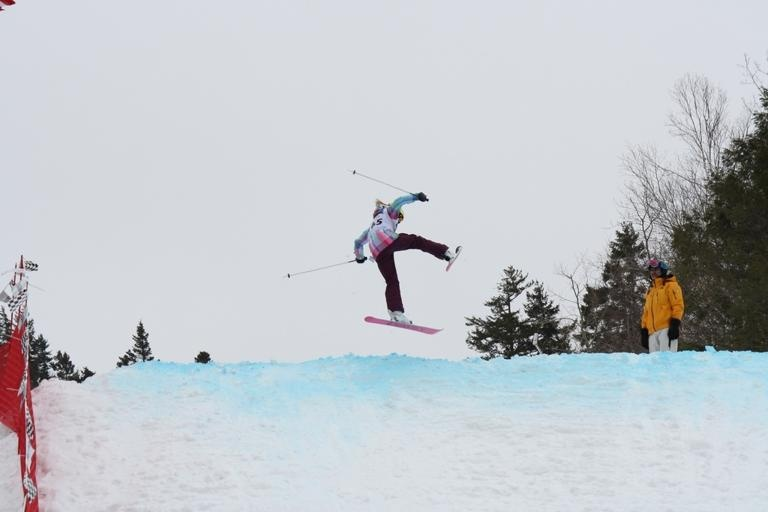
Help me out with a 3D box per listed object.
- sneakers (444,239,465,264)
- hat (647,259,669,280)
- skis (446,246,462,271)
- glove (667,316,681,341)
[{"bbox_3d":[1.372,-0.038,19.397,0.291,0.417,0.151,28,-9,-13],"label":"sneakers"},{"bbox_3d":[6.999,0.299,23.938,0.445,0.565,0.763,-6,-12,16],"label":"hat"},{"bbox_3d":[1.369,0.008,19.259,0.225,0.542,0.175,23,-24,-2],"label":"skis"},{"bbox_3d":[7.267,1.810,23.564,0.235,0.541,0.365,-2,-11,-1],"label":"glove"}]
